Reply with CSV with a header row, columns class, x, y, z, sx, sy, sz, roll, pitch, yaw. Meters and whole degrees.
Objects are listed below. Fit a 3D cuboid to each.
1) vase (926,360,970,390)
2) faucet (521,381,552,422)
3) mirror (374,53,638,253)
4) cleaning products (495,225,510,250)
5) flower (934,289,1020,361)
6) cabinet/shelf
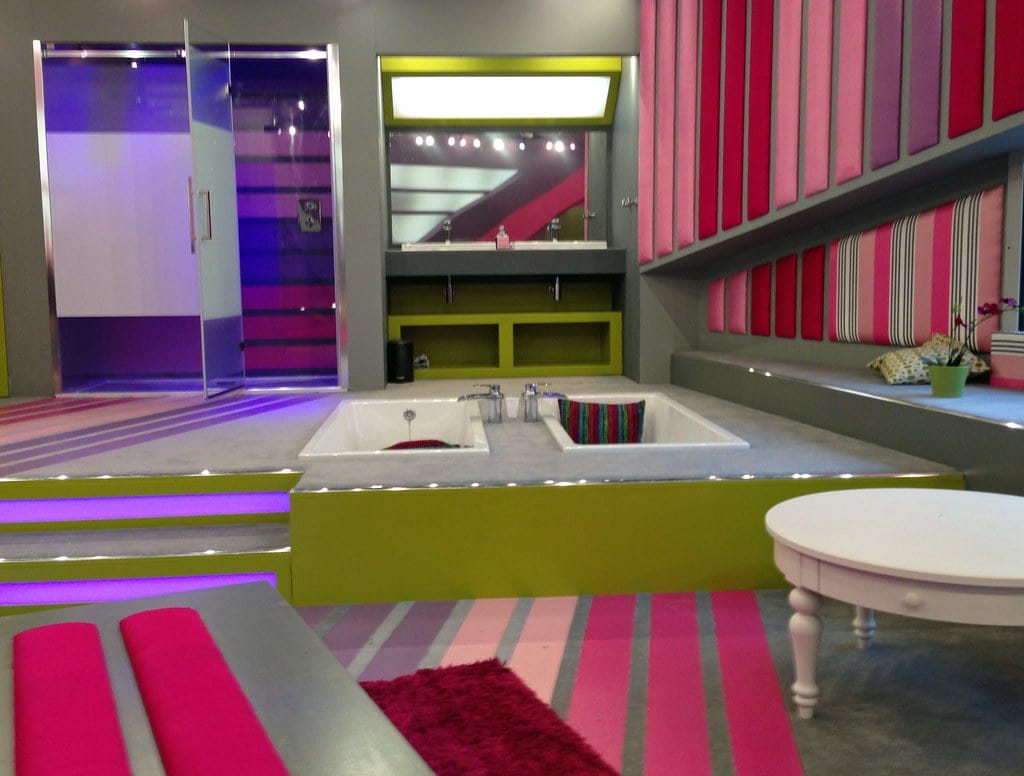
class,x,y,z,sx,sy,sz,roll,pitch,yaw
vase,1.668,-0.027,2.689,0.123,0.131,0.099,3,7,28
faucet,0.131,0.091,3.904,0.162,0.327,0.168,1,3,-8
mirror,-0.125,-2.015,5.815,1.380,1.321,0.472,-1,17,-1
cleaning products,-0.080,-1.297,5.924,0.120,0.244,0.297,0,6,-2
flower,1.940,-0.259,2.901,0.249,0.484,0.162,9,6,26
cabinet/shelf,-0.071,-0.360,6.102,1.945,0.617,0.581,-2,1,-5
